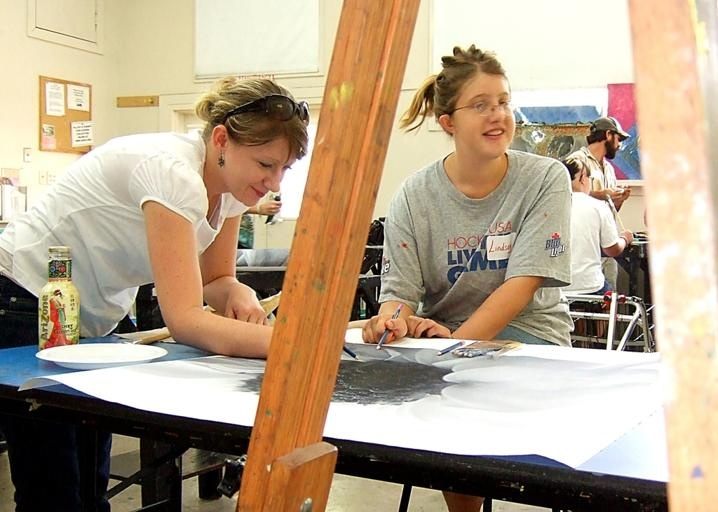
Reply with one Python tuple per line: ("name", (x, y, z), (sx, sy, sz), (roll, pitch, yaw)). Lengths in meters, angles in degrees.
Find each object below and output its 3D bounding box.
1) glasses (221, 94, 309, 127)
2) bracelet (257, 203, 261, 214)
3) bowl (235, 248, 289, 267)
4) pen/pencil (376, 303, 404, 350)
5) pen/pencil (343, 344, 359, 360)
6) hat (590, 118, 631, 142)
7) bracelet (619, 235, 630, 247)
("glasses", (-0.202, -0.308, 1.257), (0.096, 0.030, 0.096), (-10, -7, 27))
("bracelet", (-0.740, -0.351, 4.283), (0.049, 0.065, 0.025), (-4, -12, 0))
("bowl", (-0.527, 0.007, 3.127), (0.255, 0.083, 0.186), (-2, 0, 12))
("pen/pencil", (0.069, 0.158, 1.298), (0.010, 0.009, 0.091), (26, 47, 10))
("pen/pencil", (-0.018, 0.183, 1.107), (0.011, 0.013, 0.099), (43, -10, -5))
("hat", (1.968, -0.989, 4.588), (0.274, 0.138, 0.188), (-1, 11, -4))
("bracelet", (1.363, -0.072, 2.987), (0.054, 0.068, 0.035), (1, -2, -34))
